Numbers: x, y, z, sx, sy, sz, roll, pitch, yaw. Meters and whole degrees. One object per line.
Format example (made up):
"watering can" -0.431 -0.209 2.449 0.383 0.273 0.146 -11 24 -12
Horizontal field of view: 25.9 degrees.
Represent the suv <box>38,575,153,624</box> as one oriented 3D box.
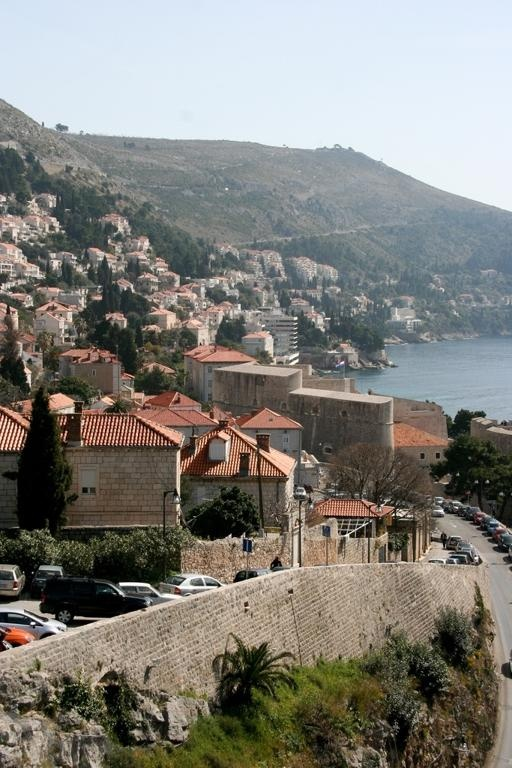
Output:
"suv" -2.643 3.535 18.591 1.872 0.921 0.939 -2 2 0
